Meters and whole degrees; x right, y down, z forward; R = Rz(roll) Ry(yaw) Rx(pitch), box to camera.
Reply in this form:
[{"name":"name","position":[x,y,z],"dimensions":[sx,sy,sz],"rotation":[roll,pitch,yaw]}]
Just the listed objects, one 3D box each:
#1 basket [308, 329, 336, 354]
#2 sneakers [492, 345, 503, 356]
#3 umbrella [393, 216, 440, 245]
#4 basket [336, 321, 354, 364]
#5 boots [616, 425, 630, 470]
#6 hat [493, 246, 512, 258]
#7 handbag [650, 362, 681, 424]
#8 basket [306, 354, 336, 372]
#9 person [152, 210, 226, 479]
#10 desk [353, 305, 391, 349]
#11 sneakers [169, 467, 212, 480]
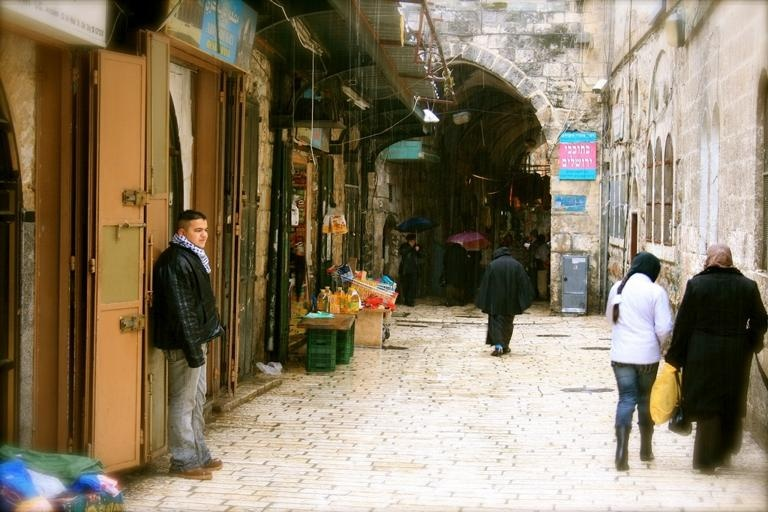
[{"name":"basket","position":[-0.929,1.260,10.947],"dimensions":[0.359,0.362,0.373],"rotation":[0,-2,3]},{"name":"sneakers","position":[1.954,1.620,12.665],"dimensions":[0.209,0.183,0.283],"rotation":[1,3,7]},{"name":"umbrella","position":[0.836,-0.880,20.368],"dimensions":[0.802,0.579,0.838],"rotation":[-24,-14,39]},{"name":"basket","position":[-0.630,1.387,11.685],"dimensions":[0.275,0.597,0.976],"rotation":[0,3,-4]},{"name":"boots","position":[2.267,1.836,6.988],"dimensions":[0.123,0.407,0.183],"rotation":[1,3,16]},{"name":"hat","position":[2.117,-0.085,13.211],"dimensions":[0.262,0.222,0.357],"rotation":[-1,-2,-31]},{"name":"handbag","position":[2.697,1.280,7.098],"dimensions":[0.122,0.505,0.496],"rotation":[5,27,14]},{"name":"basket","position":[-0.945,1.569,10.956],"dimensions":[0.290,0.192,0.302],"rotation":[0,-2,4]},{"name":"person","position":[-1.809,0.802,6.737],"dimensions":[0.632,2.461,0.457],"rotation":[0,3,-18]},{"name":"desk","position":[-0.287,1.108,13.362],"dimensions":[0.662,0.863,0.928],"rotation":[0,29,-8]},{"name":"sneakers","position":[-1.765,1.975,6.682],"dimensions":[0.345,0.111,0.131],"rotation":[-3,-2,10]}]
